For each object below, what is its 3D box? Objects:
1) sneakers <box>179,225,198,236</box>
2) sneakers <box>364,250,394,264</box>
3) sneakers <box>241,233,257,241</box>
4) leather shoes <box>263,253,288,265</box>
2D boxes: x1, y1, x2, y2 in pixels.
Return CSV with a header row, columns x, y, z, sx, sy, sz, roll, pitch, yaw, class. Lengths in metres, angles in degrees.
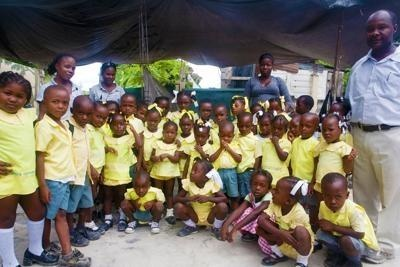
x,y,z,sx,sy,sz,roll,pitch,yaw,class
-0.183,1.392,5.508,0.298,0.113,0.104,0,3,-25,sneakers
2.320,1.583,4.939,0.441,0.112,0.146,1,1,-26,sneakers
0.683,1.442,5.341,0.243,0.144,0.090,2,-5,2,sneakers
0.951,1.605,4.910,0.316,0.101,0.114,1,5,-9,leather shoes
